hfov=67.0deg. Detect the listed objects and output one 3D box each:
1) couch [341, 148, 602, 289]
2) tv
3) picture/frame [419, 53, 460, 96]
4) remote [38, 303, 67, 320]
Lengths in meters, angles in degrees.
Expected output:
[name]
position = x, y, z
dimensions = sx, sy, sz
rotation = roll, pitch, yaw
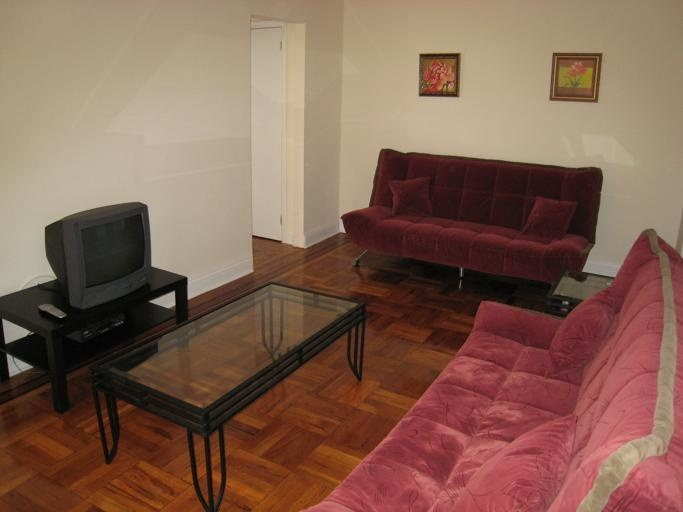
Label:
[couch]
position = 1.227, -0.401, 5.058
dimensions = 2.276, 1.091, 1.020
rotation = 12, 22, 33
[tv]
position = -1.592, -0.053, 3.328
dimensions = 0.477, 0.577, 0.595
rotation = 16, 24, 20
[picture/frame]
position = 1.048, -1.933, 5.442
dimensions = 0.448, 0.439, 0.034
rotation = 5, 11, 28
[remote]
position = -1.686, 0.320, 3.021
dimensions = 0.160, 0.033, 0.083
rotation = 13, 26, 32
